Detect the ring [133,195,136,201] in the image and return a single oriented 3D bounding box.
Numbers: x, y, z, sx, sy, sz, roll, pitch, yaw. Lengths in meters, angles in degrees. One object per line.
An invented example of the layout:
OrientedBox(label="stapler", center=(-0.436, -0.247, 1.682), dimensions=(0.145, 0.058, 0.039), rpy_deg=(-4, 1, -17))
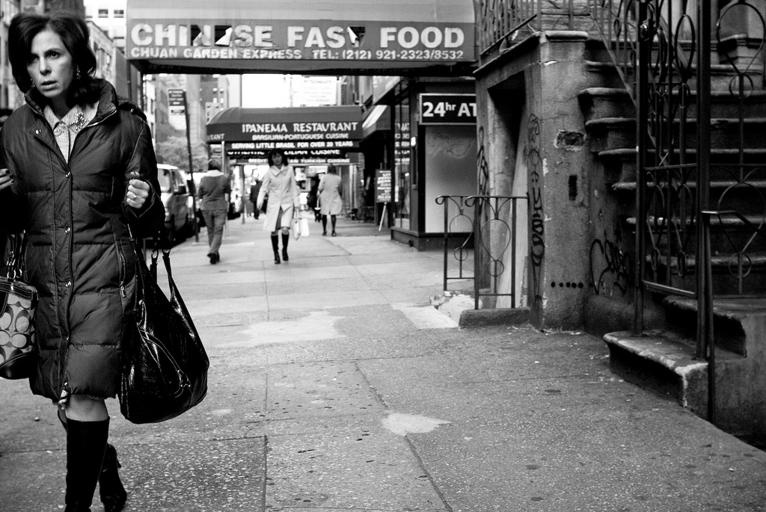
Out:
OrientedBox(label="ring", center=(-1.353, -0.322, 4.404), dimensions=(0.031, 0.033, 0.008), rpy_deg=(0, 0, -3))

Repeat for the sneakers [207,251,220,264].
OrientedBox(label="sneakers", center=(-3.389, 0.032, 16.063), dimensions=(0.276, 0.287, 0.218), rpy_deg=(2, 10, 13))
